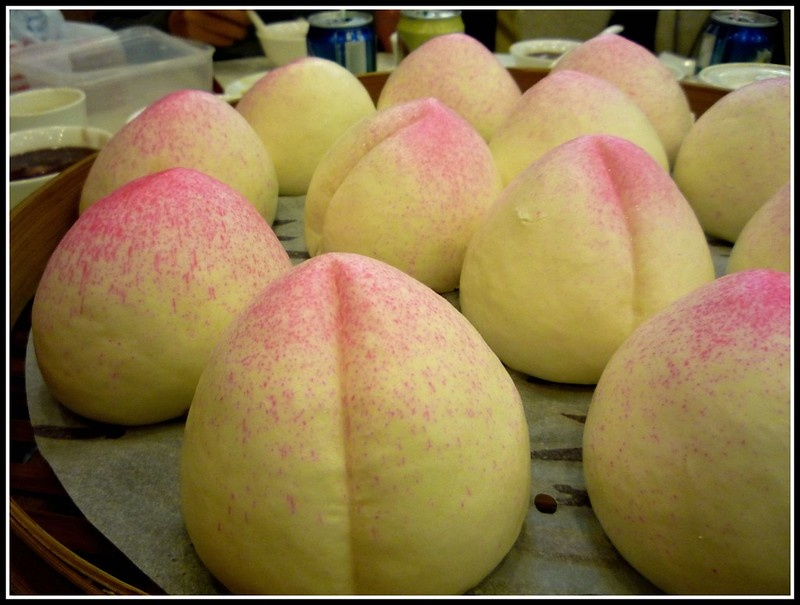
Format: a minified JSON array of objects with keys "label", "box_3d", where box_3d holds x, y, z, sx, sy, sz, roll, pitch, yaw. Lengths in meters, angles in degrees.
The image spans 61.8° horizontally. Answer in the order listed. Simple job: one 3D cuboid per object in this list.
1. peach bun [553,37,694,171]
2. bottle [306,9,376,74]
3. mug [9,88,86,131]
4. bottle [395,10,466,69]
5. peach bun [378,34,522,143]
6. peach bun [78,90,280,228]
[{"label":"peach bun","box_3d":[0.435,-0.381,1.365,0.274,0.161,0.212,38,51,-4]},{"label":"bottle","box_3d":[-0.131,-0.595,1.634,0.170,0.194,0.177,-2,35,-2]},{"label":"mug","box_3d":[-0.693,-0.378,1.317,0.117,0.096,0.124,-1,28,-9]},{"label":"bottle","box_3d":[0.071,-0.583,1.607,0.166,0.171,0.170,-4,35,-3]},{"label":"peach bun","box_3d":[0.088,-0.416,1.395,0.259,0.220,0.163,1,-16,-10]},{"label":"peach bun","box_3d":[-0.328,-0.246,1.064,0.244,0.202,0.248,9,19,24]}]
